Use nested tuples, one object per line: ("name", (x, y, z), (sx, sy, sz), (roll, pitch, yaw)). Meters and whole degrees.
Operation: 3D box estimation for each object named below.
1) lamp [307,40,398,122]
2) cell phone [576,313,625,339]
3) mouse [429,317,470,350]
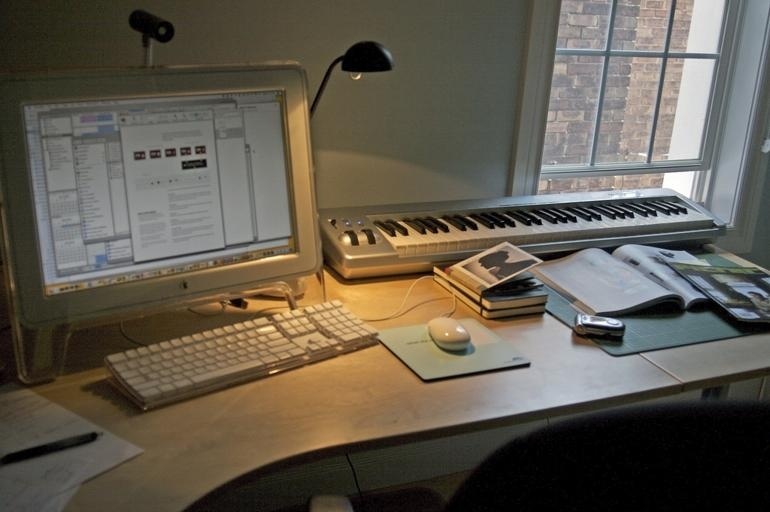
("lamp", (-0.119, -0.525, 1.622), (0.209, 0.150, 0.462), (-8, 20, -6))
("cell phone", (0.487, 0.160, 1.302), (0.083, 0.022, 0.058), (3, 18, 9))
("mouse", (0.138, 0.167, 1.265), (0.083, 0.039, 0.128), (-4, 17, -14))
